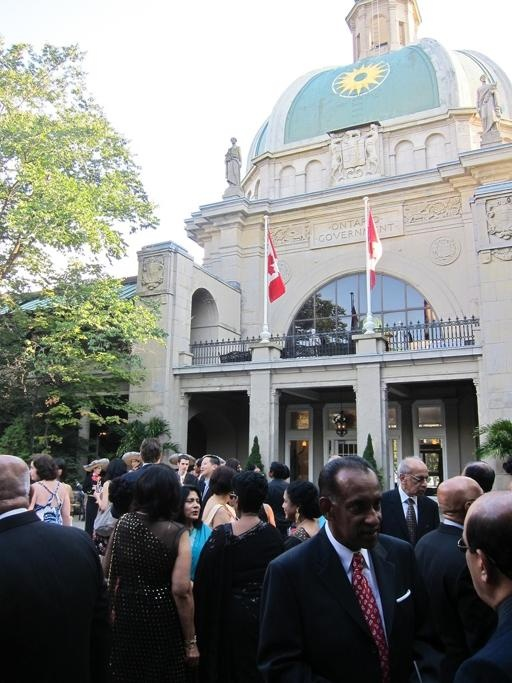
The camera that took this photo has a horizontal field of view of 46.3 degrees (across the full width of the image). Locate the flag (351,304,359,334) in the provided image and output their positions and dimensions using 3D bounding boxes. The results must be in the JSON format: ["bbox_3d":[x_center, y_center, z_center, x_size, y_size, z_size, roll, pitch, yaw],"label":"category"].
[{"bbox_3d":[3.943,-1.021,24.285,0.305,1.149,0.585,-2,-12,11],"label":"flag"}]

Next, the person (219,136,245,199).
[{"bbox_3d":[-1.105,-7.924,27.521,0.828,3.022,1.420,1,-12,-3],"label":"person"}]

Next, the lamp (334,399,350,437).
[{"bbox_3d":[3.245,3.086,23.044,0.745,1.098,1.559,-2,-11,12],"label":"lamp"}]
